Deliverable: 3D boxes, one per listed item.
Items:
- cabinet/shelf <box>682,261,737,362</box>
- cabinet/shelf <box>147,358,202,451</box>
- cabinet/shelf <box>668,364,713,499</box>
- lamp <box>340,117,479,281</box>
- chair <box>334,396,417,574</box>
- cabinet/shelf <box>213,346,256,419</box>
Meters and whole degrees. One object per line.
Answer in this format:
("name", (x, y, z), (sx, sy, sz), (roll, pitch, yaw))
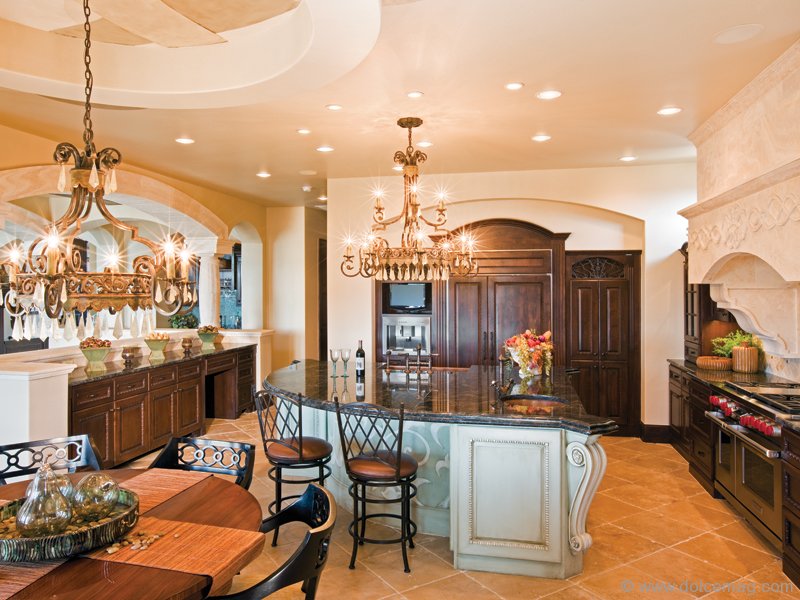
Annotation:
("cabinet/shelf", (3.379, 0.237, 6.548), (0.365, 0.942, 0.645), (-2, 5, -15))
("cabinet/shelf", (-2.512, 1.139, 6.434), (0.440, 0.887, 1.078), (-2, -3, 5))
("cabinet/shelf", (2.939, 1.336, 5.876), (0.492, 0.767, 1.245), (1, 0, 19))
("lamp", (0.094, -0.920, 5.342), (1.274, 1.385, 1.225), (4, 8, 36))
("chair", (-0.183, 1.308, 4.481), (0.622, 1.228, 0.958), (0, 5, -1))
("cabinet/shelf", (-2.409, 1.166, 8.198), (0.411, 1.005, 1.195), (1, 5, 9))
